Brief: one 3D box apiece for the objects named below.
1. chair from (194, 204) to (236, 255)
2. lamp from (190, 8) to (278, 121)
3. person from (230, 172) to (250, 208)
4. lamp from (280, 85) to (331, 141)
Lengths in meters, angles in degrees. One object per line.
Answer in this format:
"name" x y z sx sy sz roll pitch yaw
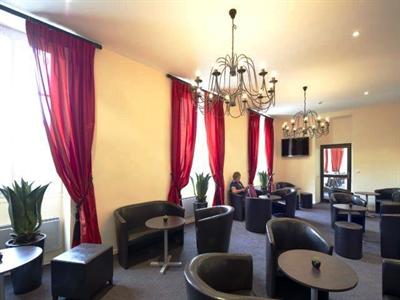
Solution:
"chair" 0.255 1.392 5.191 0.779 0.949 0.777 0 -8 -1
"lamp" 0.759 -1.499 6.461 1.688 2.083 1.756 10 -13 -43
"person" 1.086 1.131 7.894 0.527 1.045 0.530 0 -3 41
"lamp" 3.440 -1.105 9.458 1.395 1.831 1.563 1 -6 -5
